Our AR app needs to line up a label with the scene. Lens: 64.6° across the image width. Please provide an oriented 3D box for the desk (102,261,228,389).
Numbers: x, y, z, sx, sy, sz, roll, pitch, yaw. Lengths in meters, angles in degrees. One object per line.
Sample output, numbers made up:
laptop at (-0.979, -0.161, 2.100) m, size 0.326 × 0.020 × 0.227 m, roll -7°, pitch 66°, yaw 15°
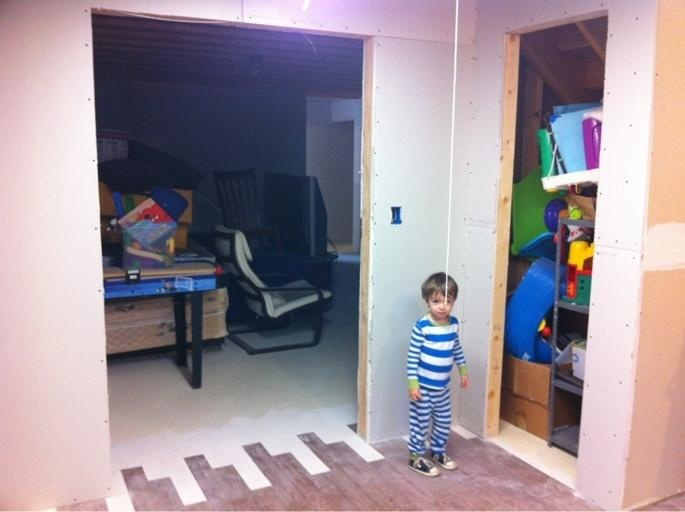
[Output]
desk at (-1.239, 0.397, 4.181) m, size 1.139 × 1.149 × 0.663 m, roll -4°, pitch 10°, yaw -25°

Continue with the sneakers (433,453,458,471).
sneakers at (0.593, 1.183, 3.111) m, size 0.063 × 0.045 × 0.121 m, roll -4°, pitch 7°, yaw -30°

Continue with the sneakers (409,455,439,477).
sneakers at (0.462, 1.169, 3.041) m, size 0.077 × 0.059 × 0.142 m, roll -4°, pitch 5°, yaw -35°

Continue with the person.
person at (0.516, 0.650, 3.096) m, size 0.338 × 1.138 × 0.375 m, roll -1°, pitch 10°, yaw -7°

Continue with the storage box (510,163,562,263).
storage box at (1.260, -0.280, 3.650) m, size 0.463 × 0.549 × 0.176 m, roll -14°, pitch -9°, yaw 41°

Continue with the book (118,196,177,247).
book at (-1.373, -0.229, 3.820) m, size 0.375 × 0.336 × 0.106 m, roll -4°, pitch 11°, yaw -21°
